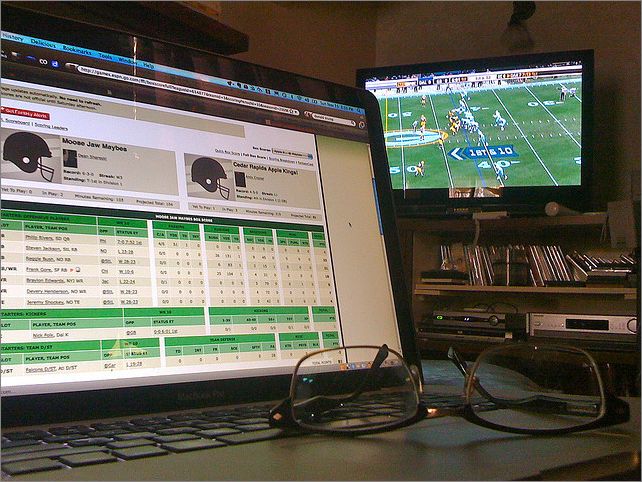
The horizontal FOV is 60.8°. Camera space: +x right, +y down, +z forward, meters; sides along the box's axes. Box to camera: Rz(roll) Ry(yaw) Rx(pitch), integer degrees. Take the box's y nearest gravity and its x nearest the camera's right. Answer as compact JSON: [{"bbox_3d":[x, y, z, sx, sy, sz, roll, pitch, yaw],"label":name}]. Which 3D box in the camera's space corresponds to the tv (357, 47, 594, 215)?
[{"bbox_3d":[0.724,-0.480,2.484,0.328,0.643,1.221,-21,20,-33],"label":"tv"}]

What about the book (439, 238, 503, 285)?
[{"bbox_3d":[0.613,0.086,2.298,0.256,0.166,0.052,5,-8,26],"label":"book"}]

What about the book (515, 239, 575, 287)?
[{"bbox_3d":[0.911,0.086,2.165,0.191,0.161,0.047,-6,-36,2],"label":"book"}]

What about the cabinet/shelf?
[{"bbox_3d":[0.619,0.165,1.684,0.875,0.471,0.258,-6,-14,28],"label":"cabinet/shelf"}]
